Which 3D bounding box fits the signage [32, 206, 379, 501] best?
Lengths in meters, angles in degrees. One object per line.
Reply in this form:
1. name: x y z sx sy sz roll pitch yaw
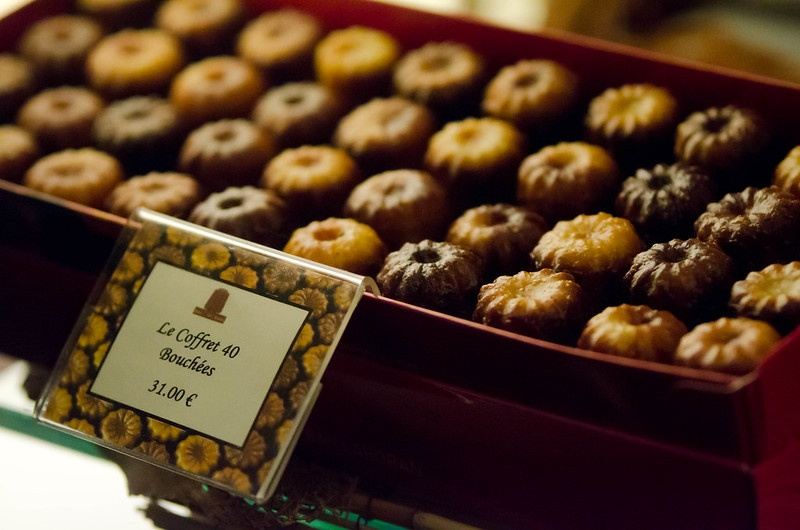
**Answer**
1. signage: -0.383 0.159 1.324 0.534 0.272 0.363 16 43 13
